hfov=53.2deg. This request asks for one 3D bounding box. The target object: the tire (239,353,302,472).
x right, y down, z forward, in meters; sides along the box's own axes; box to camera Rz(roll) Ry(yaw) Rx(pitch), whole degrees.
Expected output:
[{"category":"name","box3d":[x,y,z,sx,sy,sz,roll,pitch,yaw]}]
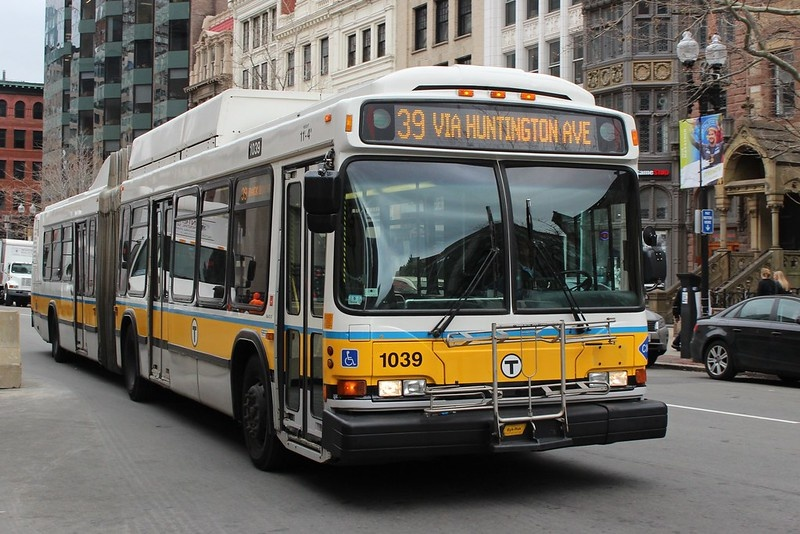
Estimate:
[{"category":"tire","box3d":[-1.544,1.764,9.698,0.536,1.527,1.425,0,1,-25]}]

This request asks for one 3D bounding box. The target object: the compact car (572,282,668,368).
[{"category":"compact car","box3d":[6.222,1.519,23.390,1.752,1.909,4.270,0,2,-7]}]

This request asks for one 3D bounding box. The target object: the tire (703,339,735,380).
[{"category":"tire","box3d":[7.515,2.144,18.707,0.326,0.985,0.920,3,-2,-25]}]

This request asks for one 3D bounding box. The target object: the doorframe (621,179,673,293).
[{"category":"doorframe","box3d":[2.955,-0.087,9.625,0.491,0.803,0.509,0,25,25]}]
